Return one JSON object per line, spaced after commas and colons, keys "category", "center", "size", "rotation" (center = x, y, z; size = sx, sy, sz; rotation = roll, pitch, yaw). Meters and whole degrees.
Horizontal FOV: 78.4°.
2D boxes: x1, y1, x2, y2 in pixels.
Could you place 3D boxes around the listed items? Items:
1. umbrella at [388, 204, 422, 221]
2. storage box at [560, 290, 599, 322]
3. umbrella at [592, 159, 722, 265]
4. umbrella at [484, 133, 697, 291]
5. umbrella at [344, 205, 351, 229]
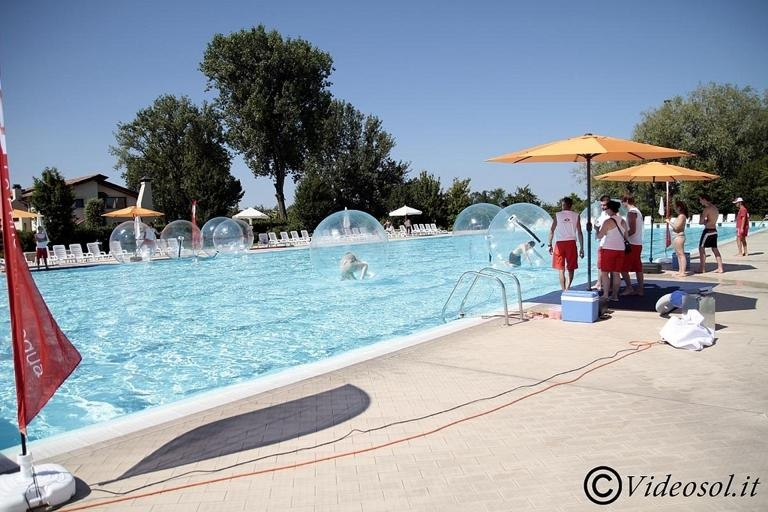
{"category": "umbrella", "center": [2.111, -4.182, 44.174], "size": [1.819, 0.842, 1.851], "rotation": [-8, 11, -35]}
{"category": "storage box", "center": [3.534, 0.988, 9.030], "size": [0.859, 0.503, 0.871], "rotation": [-2, -8, 40]}
{"category": "umbrella", "center": [7.838, -1.872, 13.444], "size": [2.519, 1.517, 2.501], "rotation": [-6, 8, 3]}
{"category": "umbrella", "center": [4.088, -0.953, 9.609], "size": [2.770, 2.934, 1.790], "rotation": [-6, 10, -25]}
{"category": "umbrella", "center": [-1.067, -1.085, 13.678], "size": [0.201, 0.528, 0.339], "rotation": [-1, 9, 4]}
